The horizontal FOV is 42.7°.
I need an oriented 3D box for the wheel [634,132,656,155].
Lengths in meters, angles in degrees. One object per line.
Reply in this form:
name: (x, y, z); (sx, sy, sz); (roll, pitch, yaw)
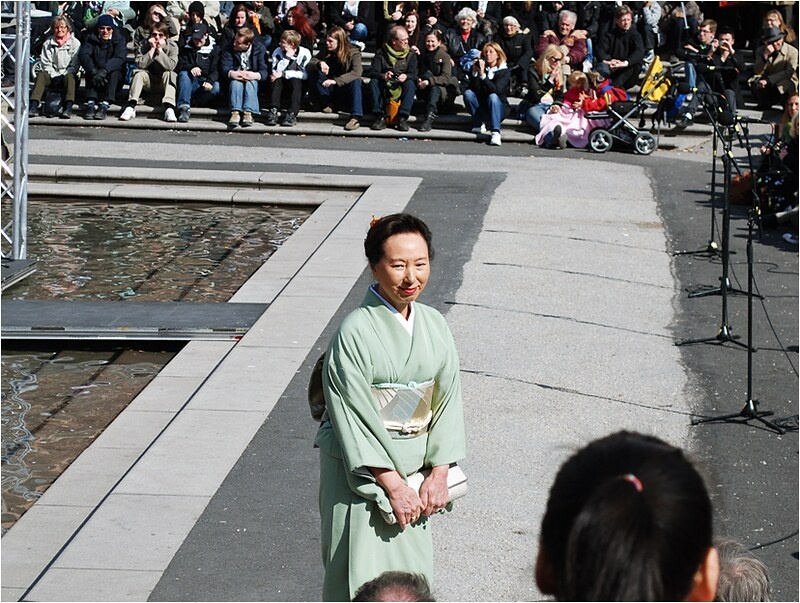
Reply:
wheel: (4.348, -2.826, 18.261); (0.325, 0.312, 0.121); (-21, 3, 7)

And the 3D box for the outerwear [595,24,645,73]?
outerwear: (4.375, -5.029, 20.250); (0.811, 0.969, 0.998); (2, 7, 9)

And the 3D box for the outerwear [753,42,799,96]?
outerwear: (7.668, -4.726, 20.940); (0.928, 1.109, 1.031); (4, 5, 37)

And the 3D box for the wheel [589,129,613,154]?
wheel: (3.596, -2.891, 18.357); (0.460, 0.434, 0.172); (-1, 8, 4)

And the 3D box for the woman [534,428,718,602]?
woman: (0.786, 0.734, 3.464); (0.508, 0.601, 0.605); (-2, -19, 1)
